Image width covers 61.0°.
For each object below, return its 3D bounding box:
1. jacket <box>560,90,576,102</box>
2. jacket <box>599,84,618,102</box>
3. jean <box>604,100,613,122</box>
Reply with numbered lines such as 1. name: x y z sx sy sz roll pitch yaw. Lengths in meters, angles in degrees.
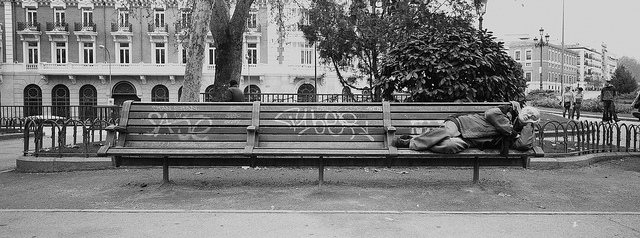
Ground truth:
1. jacket: 32.477 -2.925 70.469 1.346 1.308 1.180 5 12 22
2. jacket: 34.869 -3.128 65.616 1.698 2.110 0.970 3 13 16
3. jean: 34.799 -1.079 65.603 0.902 2.500 2.152 9 15 37
